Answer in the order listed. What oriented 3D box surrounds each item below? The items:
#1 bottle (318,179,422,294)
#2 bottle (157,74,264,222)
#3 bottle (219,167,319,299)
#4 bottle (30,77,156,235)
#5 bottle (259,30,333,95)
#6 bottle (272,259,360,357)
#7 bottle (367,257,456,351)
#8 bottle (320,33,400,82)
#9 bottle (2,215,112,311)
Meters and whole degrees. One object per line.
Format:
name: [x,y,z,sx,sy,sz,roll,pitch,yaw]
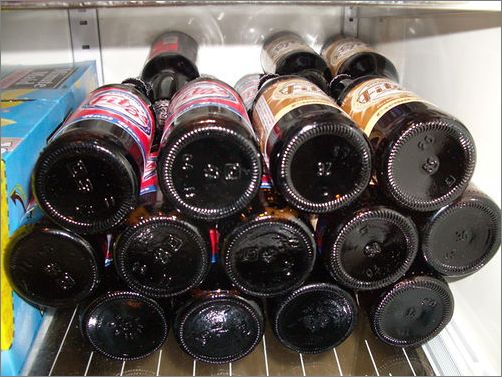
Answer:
bottle: [0.242,0.100,0.875,0.201,0.240,0.220,-7,-72,5]
bottle: [-0.084,-0.116,0.772,0.196,0.331,0.164,-10,-41,3]
bottle: [0.049,0.080,0.859,0.195,0.325,0.206,-1,-69,-2]
bottle: [-0.315,-0.091,0.759,0.185,0.334,0.162,-22,-43,17]
bottle: [0.121,-0.358,1.059,0.136,0.425,0.145,-1,-71,-4]
bottle: [0.139,0.280,0.947,0.192,0.202,0.209,-15,-69,5]
bottle: [0.362,0.281,0.948,0.199,0.208,0.209,-15,-75,15]
bottle: [0.329,-0.390,1.115,0.097,0.373,0.108,-22,-60,4]
bottle: [-0.400,0.147,0.818,0.165,0.172,0.178,-9,-74,-15]
